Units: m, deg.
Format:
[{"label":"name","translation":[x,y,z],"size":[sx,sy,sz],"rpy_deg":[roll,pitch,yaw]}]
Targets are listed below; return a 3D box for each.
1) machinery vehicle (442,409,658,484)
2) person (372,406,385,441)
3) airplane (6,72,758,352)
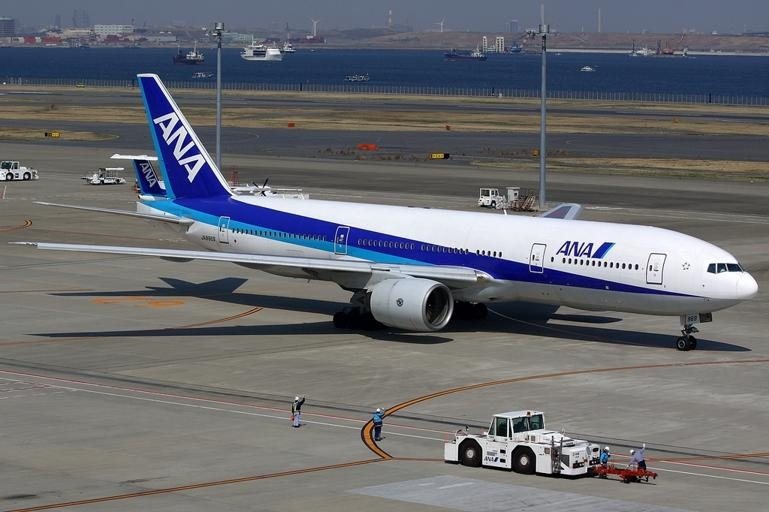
[{"label":"machinery vehicle","translation":[7.395,7.237,41.065],"size":[9.906,1.394,2.576],"rpy_deg":[2,1,23]},{"label":"person","translation":[-0.227,6.694,43.886],"size":[0.376,1.228,0.701],"rpy_deg":[1,11,-5]},{"label":"airplane","translation":[1.554,-1.283,58.936],"size":[32.731,5.804,27.912],"rpy_deg":[5,9,30]}]
